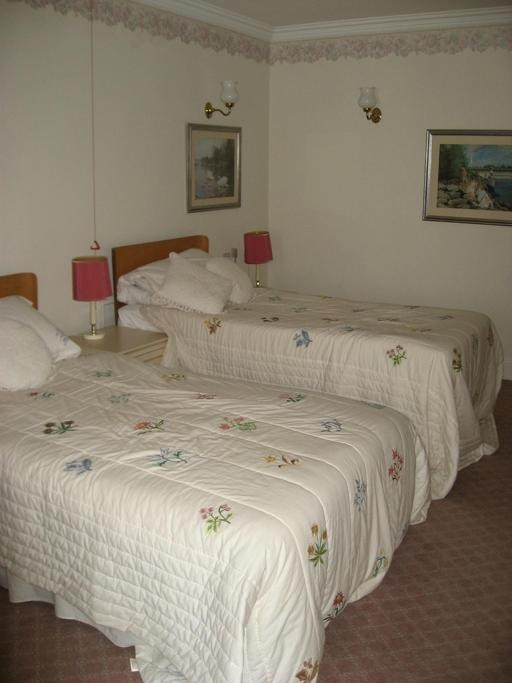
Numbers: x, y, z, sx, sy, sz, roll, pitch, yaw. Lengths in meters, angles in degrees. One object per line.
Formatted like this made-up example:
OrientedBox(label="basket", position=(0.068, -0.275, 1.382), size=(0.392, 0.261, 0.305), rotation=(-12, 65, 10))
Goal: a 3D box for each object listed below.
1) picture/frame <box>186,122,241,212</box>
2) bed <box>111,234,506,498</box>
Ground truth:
OrientedBox(label="picture/frame", position=(-0.380, -1.499, 4.670), size=(0.055, 0.787, 0.792), rotation=(13, 20, 33))
OrientedBox(label="bed", position=(0.338, 0.181, 3.826), size=(2.321, 1.150, 1.491), rotation=(10, 27, 28))
